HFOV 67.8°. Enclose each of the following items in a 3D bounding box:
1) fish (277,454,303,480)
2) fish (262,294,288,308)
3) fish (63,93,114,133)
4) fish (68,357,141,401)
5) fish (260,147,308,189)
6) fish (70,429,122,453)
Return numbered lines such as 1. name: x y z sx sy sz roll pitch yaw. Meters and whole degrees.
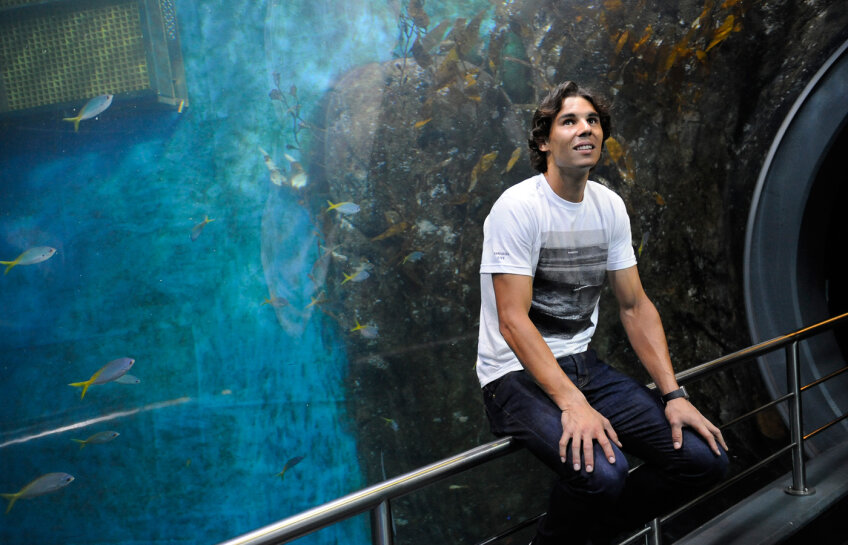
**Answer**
1. fish: -1.568 2.236 7.430 0.427 0.134 0.066 -39 24 -21
2. fish: -1.693 0.324 7.173 0.201 0.126 0.053 12 7 -32
3. fish: -3.468 -1.647 6.454 0.578 0.243 0.098 -33 33 -28
4. fish: -3.409 1.108 6.638 0.748 0.330 0.170 -26 20 -26
5. fish: -1.575 -1.153 7.129 0.310 0.494 0.130 -40 33 18
6. fish: -3.506 1.767 6.666 0.493 0.197 0.114 -15 25 -18
